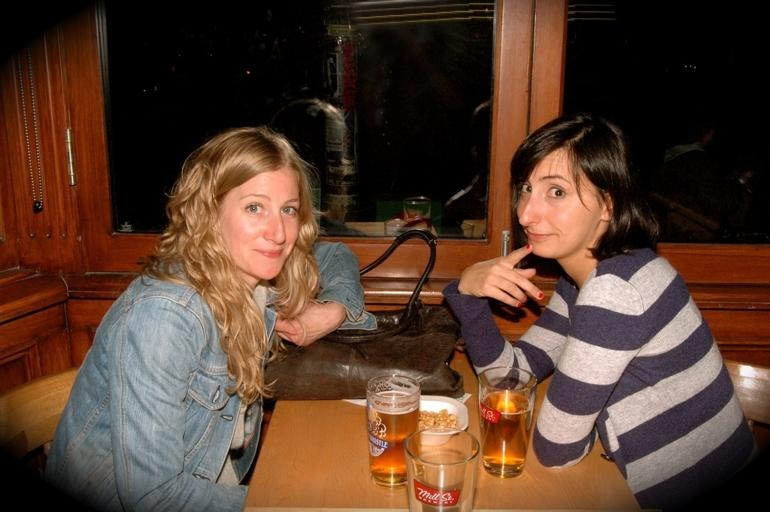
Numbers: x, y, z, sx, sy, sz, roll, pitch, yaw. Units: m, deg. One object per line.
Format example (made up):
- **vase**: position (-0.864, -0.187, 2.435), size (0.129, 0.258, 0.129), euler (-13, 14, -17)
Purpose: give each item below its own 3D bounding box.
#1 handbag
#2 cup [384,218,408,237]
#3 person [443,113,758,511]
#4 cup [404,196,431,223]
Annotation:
- **handbag**: position (-0.077, 0.117, 2.018), size (0.939, 0.697, 0.343), euler (-2, -31, 3)
- **cup**: position (0.035, -0.125, 2.358), size (0.130, 0.106, 0.070), euler (1, 12, 3)
- **person**: position (0.756, 0.119, 2.267), size (1.252, 1.626, 0.848), euler (-2, 5, 15)
- **cup**: position (0.137, -0.196, 2.340), size (0.114, 0.115, 0.114), euler (1, 6, 0)
